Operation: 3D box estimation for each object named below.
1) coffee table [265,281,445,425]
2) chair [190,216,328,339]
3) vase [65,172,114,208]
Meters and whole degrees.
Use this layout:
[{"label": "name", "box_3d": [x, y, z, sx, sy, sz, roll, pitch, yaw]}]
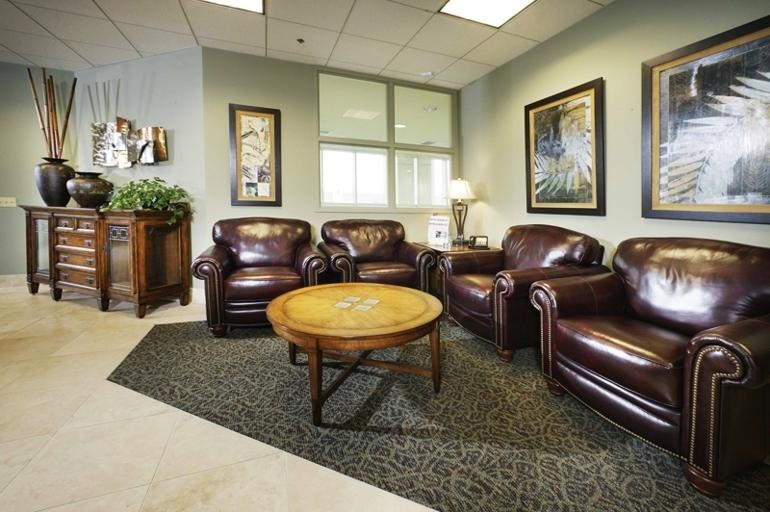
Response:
[{"label": "coffee table", "box_3d": [-0.190, 0.524, 3.992, 1.137, 0.540, 1.141, 5, 12, 23]}, {"label": "chair", "box_3d": [-1.375, 0.111, 5.423, 1.534, 1.257, 1.217, -1, 1, -15]}, {"label": "vase", "box_3d": [-3.390, -0.753, 5.620, 0.483, 0.392, 0.332, 2, 9, 17]}]
